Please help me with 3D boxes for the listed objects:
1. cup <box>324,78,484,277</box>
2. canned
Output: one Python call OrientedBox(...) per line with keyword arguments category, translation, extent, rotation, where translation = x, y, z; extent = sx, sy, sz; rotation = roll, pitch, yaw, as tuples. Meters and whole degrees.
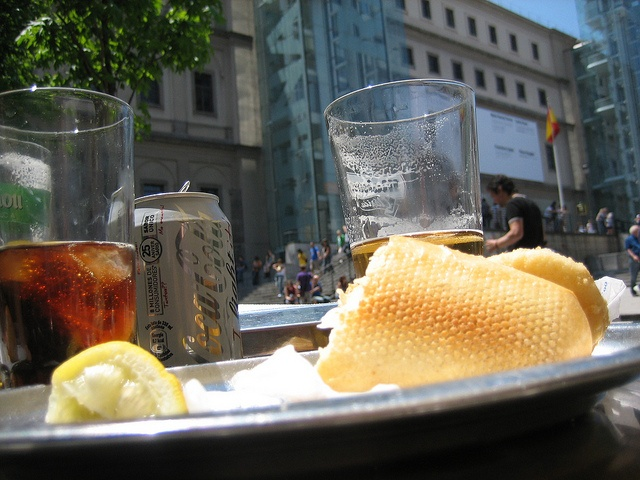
OrientedBox(category="cup", translation=(0.095, -0.082, 0.673), extent=(0.102, 0.256, 0.138), rotation=(3, -1, -35))
OrientedBox(category="canned", translation=(-0.158, 0.029, 0.715), extent=(0.096, 0.226, 0.094), rotation=(-2, -4, 31))
